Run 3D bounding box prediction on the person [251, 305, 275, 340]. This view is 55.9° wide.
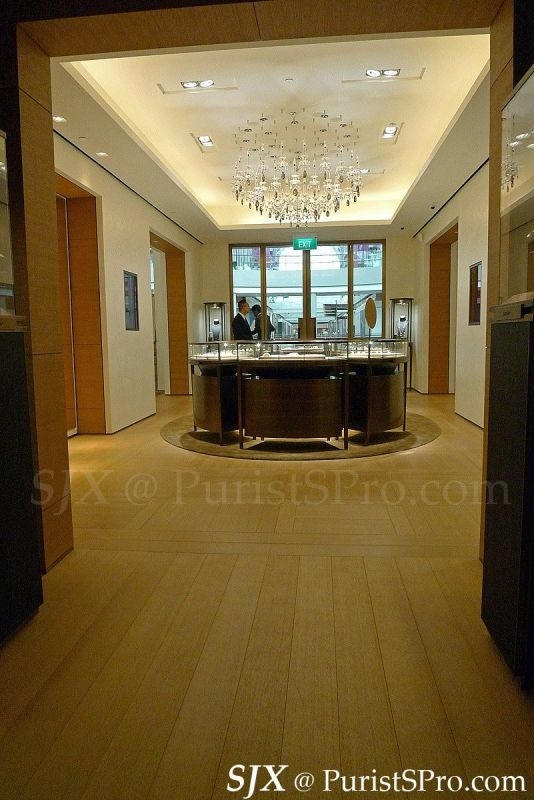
[{"bbox_3d":[-0.060,-1.768,11.310,0.483,0.807,0.840,-1,5,-2],"label":"person"}]

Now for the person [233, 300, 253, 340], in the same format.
[{"bbox_3d":[-0.369,-1.199,7.526,0.259,0.619,0.768,-1,5,-4],"label":"person"}]

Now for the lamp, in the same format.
[{"bbox_3d":[0.434,-3.301,7.076,1.316,1.024,1.346,9,15,42],"label":"lamp"}]
